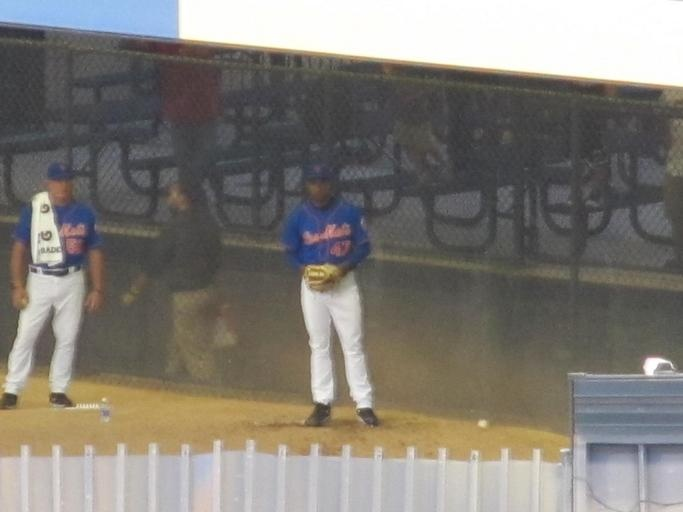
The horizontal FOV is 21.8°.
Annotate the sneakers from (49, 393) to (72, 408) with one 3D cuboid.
[{"bbox_3d":[-1.891,0.973,11.873,0.076,0.067,0.147,2,2,22],"label":"sneakers"}]

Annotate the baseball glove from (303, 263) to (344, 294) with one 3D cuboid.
[{"bbox_3d":[-0.124,0.136,11.845,0.225,0.160,0.087,-19,23,4],"label":"baseball glove"}]

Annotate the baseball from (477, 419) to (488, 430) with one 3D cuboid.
[{"bbox_3d":[0.953,1.153,12.009,0.051,0.058,0.026,4,-11,3],"label":"baseball"}]

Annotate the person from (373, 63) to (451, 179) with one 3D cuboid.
[{"bbox_3d":[0.503,-0.914,12.042,0.472,0.808,0.148,1,5,-13],"label":"person"}]

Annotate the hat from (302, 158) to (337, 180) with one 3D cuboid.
[{"bbox_3d":[-0.154,-0.600,11.909,0.149,0.108,0.158,2,-7,-4],"label":"hat"}]

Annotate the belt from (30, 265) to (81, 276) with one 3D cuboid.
[{"bbox_3d":[-1.933,0.092,11.914,0.338,0.072,0.016,2,5,-7],"label":"belt"}]

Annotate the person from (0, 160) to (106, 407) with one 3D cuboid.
[{"bbox_3d":[-1.939,0.193,11.890,0.657,1.656,0.223,1,5,-10],"label":"person"}]

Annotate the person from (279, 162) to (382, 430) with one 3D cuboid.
[{"bbox_3d":[-0.070,0.252,11.914,0.692,1.782,0.304,2,5,-3],"label":"person"}]

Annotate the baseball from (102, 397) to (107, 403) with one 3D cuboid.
[{"bbox_3d":[-1.596,0.974,11.882,0.033,0.051,0.031,-6,-11,-5],"label":"baseball"}]

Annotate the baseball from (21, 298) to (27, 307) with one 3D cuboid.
[{"bbox_3d":[-2.144,0.305,11.895,0.033,0.051,0.025,25,12,9],"label":"baseball"}]

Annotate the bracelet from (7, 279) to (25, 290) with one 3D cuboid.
[{"bbox_3d":[-2.189,0.193,11.904,0.115,0.050,0.024,3,5,7],"label":"bracelet"}]
